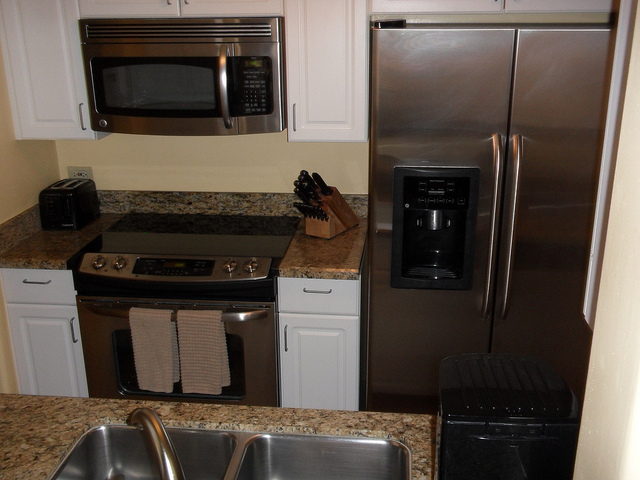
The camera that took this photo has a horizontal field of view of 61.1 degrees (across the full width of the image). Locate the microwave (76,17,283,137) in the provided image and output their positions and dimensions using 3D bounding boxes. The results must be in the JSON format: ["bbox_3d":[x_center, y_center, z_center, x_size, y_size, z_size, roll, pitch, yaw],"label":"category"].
[{"bbox_3d":[-0.650,-0.775,2.557,0.928,0.540,0.579,2,19,6],"label":"microwave"}]

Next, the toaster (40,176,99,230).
[{"bbox_3d":[-1.446,-0.205,3.122,0.220,0.255,0.387,-2,14,-8],"label":"toaster"}]

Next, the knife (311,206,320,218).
[{"bbox_3d":[-0.022,-0.144,2.748,0.022,0.083,0.020,-28,26,7],"label":"knife"}]

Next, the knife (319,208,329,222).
[{"bbox_3d":[0.019,-0.127,2.744,0.019,0.082,0.022,-35,17,24],"label":"knife"}]

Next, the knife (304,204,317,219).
[{"bbox_3d":[-0.052,-0.149,2.749,0.028,0.109,0.026,-37,32,7],"label":"knife"}]

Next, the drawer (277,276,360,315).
[{"bbox_3d":[-0.014,0.264,2.478,0.246,0.114,0.241,2,7,7],"label":"drawer"}]

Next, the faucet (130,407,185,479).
[{"bbox_3d":[-0.349,0.410,1.127,0.042,0.109,0.206,-14,20,-36],"label":"faucet"}]

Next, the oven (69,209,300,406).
[{"bbox_3d":[-0.543,0.227,2.949,1.006,1.285,0.923,1,12,4],"label":"oven"}]

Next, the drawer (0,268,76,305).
[{"bbox_3d":[-1.385,0.210,2.624,0.244,0.146,0.241,1,7,5],"label":"drawer"}]
